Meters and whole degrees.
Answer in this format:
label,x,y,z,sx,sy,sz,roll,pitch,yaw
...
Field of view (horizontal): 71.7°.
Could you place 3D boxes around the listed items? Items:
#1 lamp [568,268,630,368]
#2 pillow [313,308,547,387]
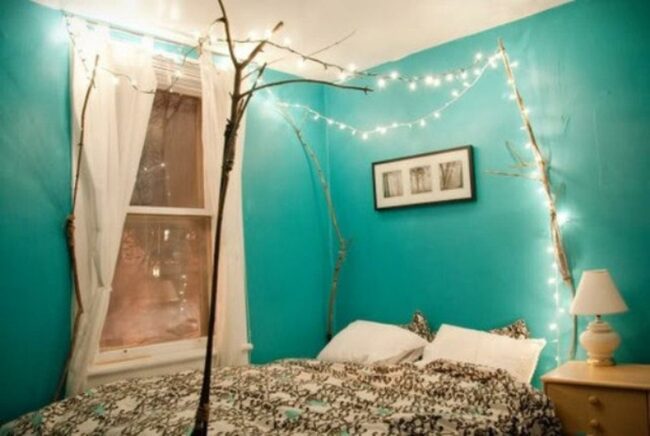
label,x,y,z,sx,sy,sz,roll,pitch,yaw
lamp,1.887,0.681,3.109,0.339,0.673,0.276,-3,-1,19
pillow,0.774,0.969,3.387,0.905,0.298,0.796,-8,-8,28
